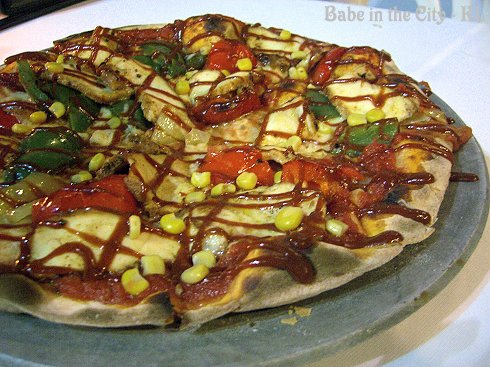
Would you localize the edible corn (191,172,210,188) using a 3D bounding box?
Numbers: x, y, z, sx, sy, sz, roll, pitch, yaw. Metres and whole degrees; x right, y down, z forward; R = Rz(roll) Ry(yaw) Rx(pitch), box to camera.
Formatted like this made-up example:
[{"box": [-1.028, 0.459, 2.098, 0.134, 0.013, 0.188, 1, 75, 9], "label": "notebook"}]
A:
[{"box": [-0.319, -0.029, 3.397, 0.166, 0.055, 0.099, 10, 60, 3], "label": "edible corn"}]

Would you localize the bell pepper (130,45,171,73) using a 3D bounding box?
[{"box": [-0.853, -1.203, 4.507, 0.368, 0.099, 0.381, 42, 56, 15], "label": "bell pepper"}]

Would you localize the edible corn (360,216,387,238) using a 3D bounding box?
[{"box": [0.840, 0.269, 3.097, 0.149, 0.042, 0.153, -10, 49, 0], "label": "edible corn"}]

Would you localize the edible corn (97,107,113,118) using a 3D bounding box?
[{"box": [-1.193, -0.609, 4.130, 0.152, 0.037, 0.092, 3, 62, 16], "label": "edible corn"}]

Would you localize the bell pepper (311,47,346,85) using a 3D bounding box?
[{"box": [0.726, -1.065, 4.283, 0.204, 0.175, 0.440, 22, 57, 24], "label": "bell pepper"}]

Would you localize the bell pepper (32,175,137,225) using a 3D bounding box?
[{"box": [-1.029, 0.095, 3.138, 0.601, 0.343, 0.124, -3, 96, 4], "label": "bell pepper"}]

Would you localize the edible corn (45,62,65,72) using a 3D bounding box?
[{"box": [-1.604, -0.993, 4.064, 0.167, 0.053, 0.099, 6, 13, -18], "label": "edible corn"}]

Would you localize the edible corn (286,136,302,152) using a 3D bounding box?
[{"box": [0.397, -0.305, 3.711, 0.146, 0.054, 0.106, -18, 42, 26], "label": "edible corn"}]

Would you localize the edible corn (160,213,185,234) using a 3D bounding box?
[{"box": [-0.464, 0.257, 3.089, 0.156, 0.046, 0.119, 1, 40, -21], "label": "edible corn"}]

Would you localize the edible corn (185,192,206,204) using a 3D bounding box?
[{"box": [-0.341, 0.098, 3.288, 0.127, 0.027, 0.090, -9, 34, -6], "label": "edible corn"}]

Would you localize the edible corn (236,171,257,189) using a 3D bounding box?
[{"box": [0.016, -0.022, 3.328, 0.168, 0.090, 0.126, 4, 30, 13], "label": "edible corn"}]

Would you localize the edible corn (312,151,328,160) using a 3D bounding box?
[{"box": [0.569, -0.216, 3.627, 0.094, 0.025, 0.092, -27, 30, -34], "label": "edible corn"}]

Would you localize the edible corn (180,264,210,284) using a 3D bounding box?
[{"box": [-0.297, 0.546, 2.875, 0.165, 0.040, 0.132, -7, 12, 18], "label": "edible corn"}]

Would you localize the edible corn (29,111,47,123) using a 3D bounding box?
[{"box": [-1.696, -0.556, 3.944, 0.165, 0.067, 0.074, 0, 68, -14], "label": "edible corn"}]

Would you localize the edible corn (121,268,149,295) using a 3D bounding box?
[{"box": [-0.650, 0.564, 2.750, 0.208, 0.044, 0.122, -3, 64, -1], "label": "edible corn"}]

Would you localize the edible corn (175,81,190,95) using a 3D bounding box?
[{"box": [-0.548, -0.844, 4.207, 0.175, 0.072, 0.102, 7, 74, -5], "label": "edible corn"}]

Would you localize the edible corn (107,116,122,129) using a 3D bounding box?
[{"box": [-1.084, -0.512, 3.977, 0.148, 0.035, 0.086, 4, 64, 5], "label": "edible corn"}]

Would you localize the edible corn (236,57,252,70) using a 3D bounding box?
[{"box": [-0.002, -1.078, 4.333, 0.133, 0.066, 0.148, -8, 50, 4], "label": "edible corn"}]

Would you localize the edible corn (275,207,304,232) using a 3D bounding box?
[{"box": [0.304, 0.219, 3.069, 0.160, 0.082, 0.203, 28, 44, 35], "label": "edible corn"}]

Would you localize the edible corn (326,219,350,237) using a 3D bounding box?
[{"box": [0.585, 0.280, 3.034, 0.135, 0.042, 0.113, 34, 58, 26], "label": "edible corn"}]
